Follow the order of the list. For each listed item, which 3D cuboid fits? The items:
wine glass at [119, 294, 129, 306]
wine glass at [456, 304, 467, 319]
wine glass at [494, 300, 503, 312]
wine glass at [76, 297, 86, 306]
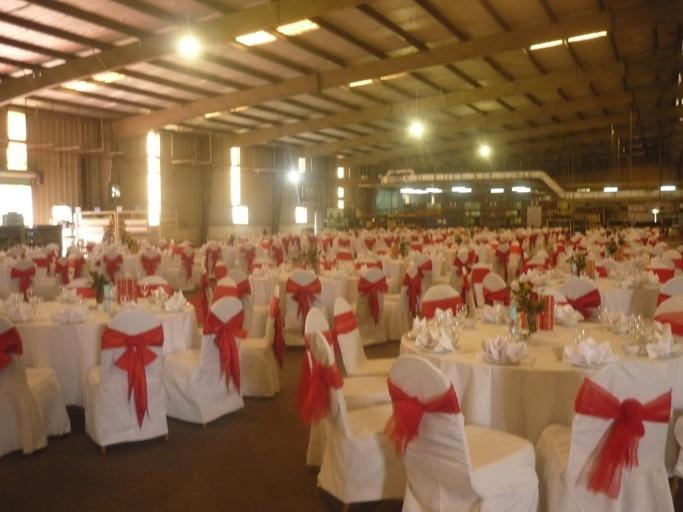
[{"bbox_3d":[-2.210,0.452,5.624,0.095,0.130,0.098,-3,-5,44],"label":"wine glass"},{"bbox_3d":[1.040,0.477,4.767,0.086,0.132,0.098,0,-1,21],"label":"wine glass"},{"bbox_3d":[1.449,0.462,5.138,0.095,0.122,0.078,-4,-3,42],"label":"wine glass"},{"bbox_3d":[-2.702,0.474,5.708,0.082,0.082,0.169,1,-5,-14],"label":"wine glass"}]
